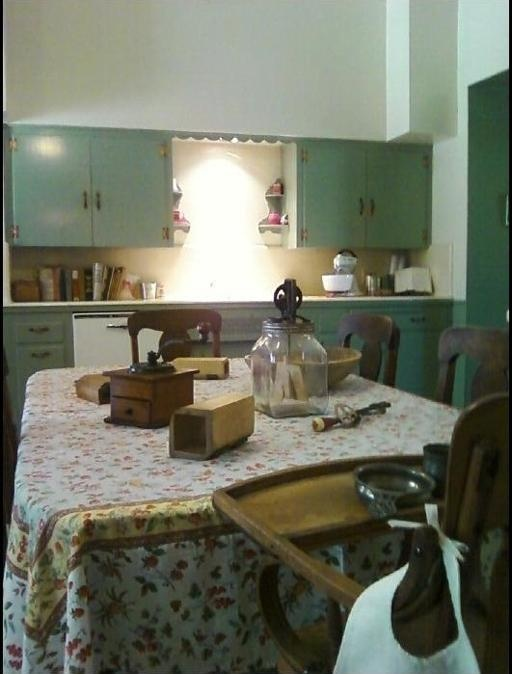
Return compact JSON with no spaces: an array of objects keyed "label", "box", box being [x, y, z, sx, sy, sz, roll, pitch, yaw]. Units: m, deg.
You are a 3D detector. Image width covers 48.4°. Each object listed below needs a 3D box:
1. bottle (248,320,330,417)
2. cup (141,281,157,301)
[{"label":"bottle","box":[0.024,0.023,0.433,0.062,0.083,0.067,4,-10,1]},{"label":"cup","box":[-0.387,-0.167,2.052,0.055,0.084,0.056,1,11,0]}]
